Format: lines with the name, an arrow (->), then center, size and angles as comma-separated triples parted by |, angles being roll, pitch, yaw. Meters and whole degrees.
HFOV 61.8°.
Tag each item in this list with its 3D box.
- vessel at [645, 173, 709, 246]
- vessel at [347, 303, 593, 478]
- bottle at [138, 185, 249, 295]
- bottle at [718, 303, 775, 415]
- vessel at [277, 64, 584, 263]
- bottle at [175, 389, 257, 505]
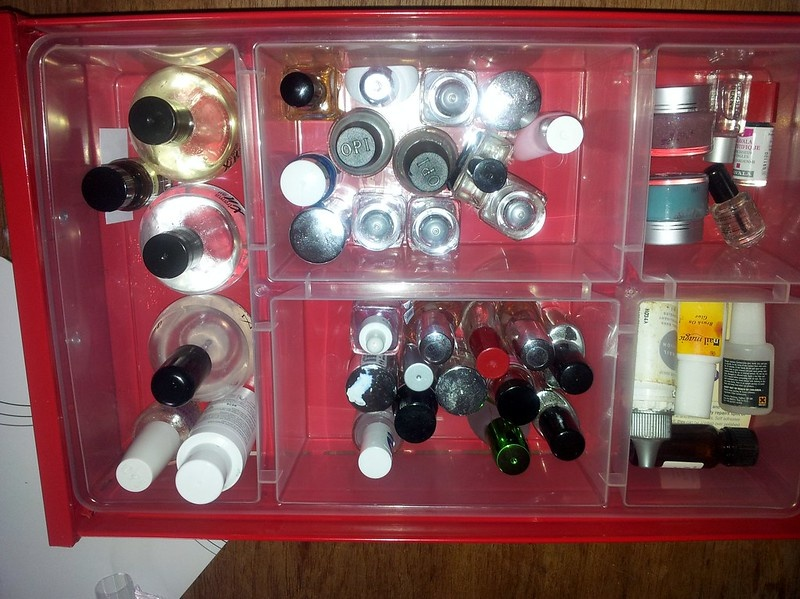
vessel -> 0.534, -0.175, 1.317 | 0.125, 0.128, 0.126 | 2, -80, 31
vessel -> 0.128, 0.147, 1.258 | 0.431, 0.173, 0.324 | 3, -84, 2
bottle -> -0.387, -0.130, 1.277 | 0.203, 0.093, 0.208 | 1, -76, 6
bottle -> 0.706, 0.092, 1.357 | 0.111, 0.077, 0.317 | 1, -55, 26
vessel -> 0.035, -0.262, 1.223 | 0.540, 0.204, 0.341 | 1, -82, -3
bottle -> -0.365, 0.285, 1.323 | 0.125, 0.289, 0.109 | 11, -74, -8
